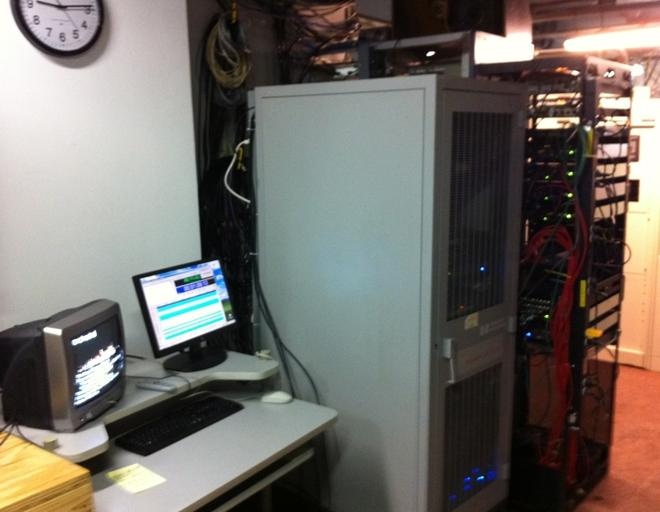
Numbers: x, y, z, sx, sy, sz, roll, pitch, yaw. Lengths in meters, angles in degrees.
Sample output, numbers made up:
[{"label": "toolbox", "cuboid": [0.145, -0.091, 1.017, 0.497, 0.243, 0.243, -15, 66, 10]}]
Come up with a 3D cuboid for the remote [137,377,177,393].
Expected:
[{"label": "remote", "cuboid": [-0.783, 0.573, 2.719, 0.135, 0.039, 0.074, 8, 7, 7]}]

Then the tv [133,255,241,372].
[{"label": "tv", "cuboid": [-0.719, 0.277, 2.925, 0.221, 0.406, 0.432, 8, 18, 33]}]

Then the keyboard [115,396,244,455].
[{"label": "keyboard", "cuboid": [-0.683, 0.680, 2.676, 0.200, 0.084, 0.400, 17, 27, 33]}]
